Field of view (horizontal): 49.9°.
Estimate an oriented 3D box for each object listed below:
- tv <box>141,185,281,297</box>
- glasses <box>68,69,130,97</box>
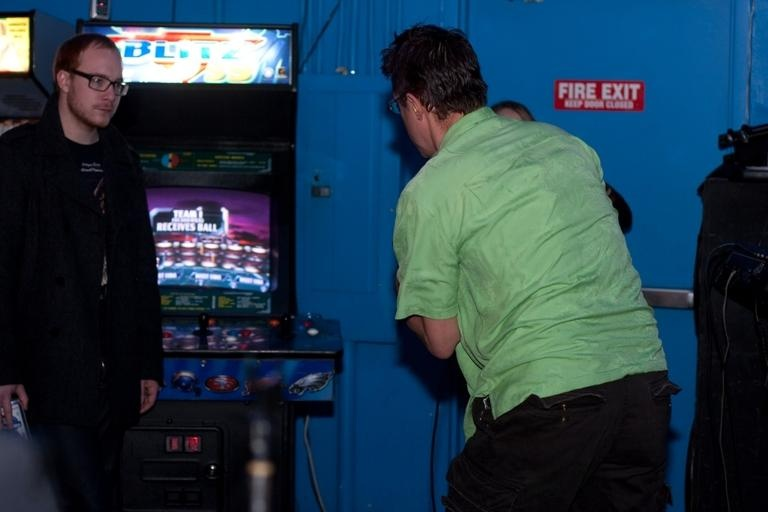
[{"bbox_3d":[-0.844,-0.051,3.988,0.552,0.435,0.027,1,3,1],"label":"tv"},{"bbox_3d":[-1.150,-0.711,3.349,0.131,0.039,0.128,23,9,34],"label":"glasses"}]
